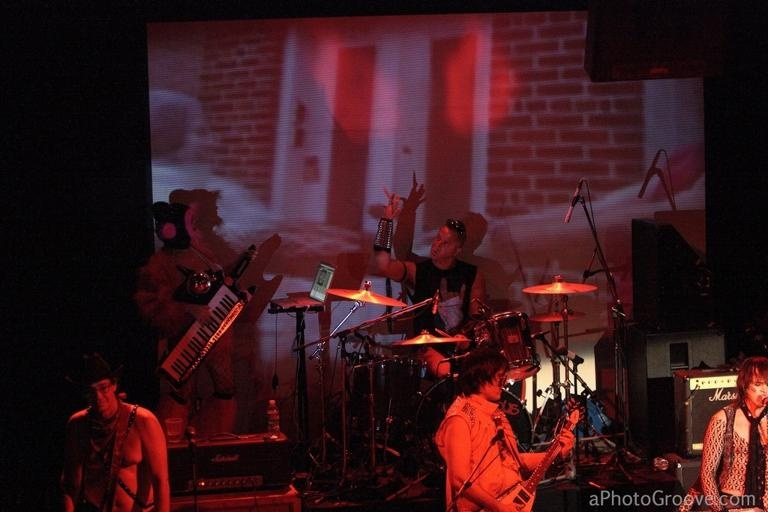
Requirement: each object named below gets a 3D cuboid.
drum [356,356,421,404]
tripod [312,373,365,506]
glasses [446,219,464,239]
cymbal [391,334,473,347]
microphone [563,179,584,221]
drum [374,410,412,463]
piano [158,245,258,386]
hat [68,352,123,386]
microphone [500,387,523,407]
[{"bbox_3d":[0.077,1.262,7.870,0.548,0.352,0.536,0,-2,0],"label":"drum"},{"bbox_3d":[-0.440,1.801,7.887,0.562,1.354,1.035,-1,-11,-5],"label":"tripod"},{"bbox_3d":[0.782,-0.295,8.414,0.207,0.231,0.119,-3,-11,3],"label":"glasses"},{"bbox_3d":[0.520,0.841,7.842,0.683,0.134,0.765,-3,-10,4],"label":"cymbal"},{"bbox_3d":[2.119,-0.635,8.611,0.203,0.478,0.137,19,-4,-43],"label":"microphone"},{"bbox_3d":[0.106,1.888,8.012,0.382,0.514,0.562,-2,-11,-1],"label":"drum"},{"bbox_3d":[-1.704,0.669,8.317,0.957,1.471,0.357,41,-5,13],"label":"piano"},{"bbox_3d":[-2.617,1.015,6.942,0.435,0.172,0.472,-8,-18,-43],"label":"hat"},{"bbox_3d":[1.240,1.431,7.797,0.284,0.056,0.252,2,20,-25],"label":"microphone"}]
